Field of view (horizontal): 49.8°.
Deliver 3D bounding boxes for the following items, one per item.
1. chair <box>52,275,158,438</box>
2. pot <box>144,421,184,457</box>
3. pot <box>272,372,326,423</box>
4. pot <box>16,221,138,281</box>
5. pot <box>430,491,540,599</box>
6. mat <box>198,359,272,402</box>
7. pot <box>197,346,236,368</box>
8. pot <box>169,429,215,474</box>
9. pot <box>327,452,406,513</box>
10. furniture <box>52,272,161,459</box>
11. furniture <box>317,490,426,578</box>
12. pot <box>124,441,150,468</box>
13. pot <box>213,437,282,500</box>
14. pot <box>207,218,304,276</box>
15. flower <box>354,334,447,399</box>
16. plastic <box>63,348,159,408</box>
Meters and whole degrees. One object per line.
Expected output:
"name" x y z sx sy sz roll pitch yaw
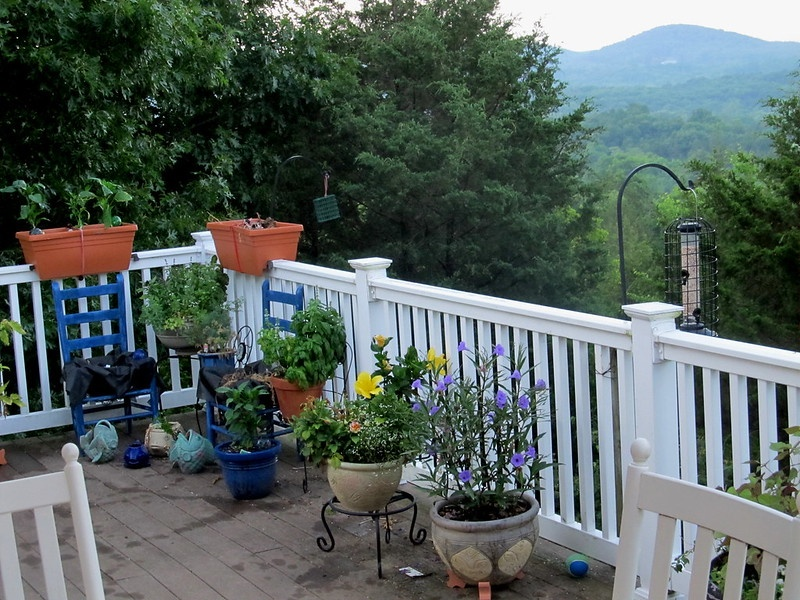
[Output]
"chair" -1.939 0.455 5.736 0.595 1.080 0.610 -10 17 -32
"pot" -1.509 0.889 5.519 0.209 0.160 0.219 0 1 0
"pot" -0.576 0.535 4.878 0.253 0.210 0.252 1 4 0
"pot" -2.133 -0.328 5.737 0.649 0.304 0.394 -4 6 -36
"pot" 0.378 1.082 3.915 0.426 0.325 0.455 -1 -10 0
"mat" -1.054 0.469 5.189 0.277 0.130 0.277 -4 7 -40
"pot" -1.180 0.344 5.532 0.144 0.193 0.149 1 7 0
"pot" -1.285 0.922 5.301 0.214 0.262 0.285 -14 -3 -29
"pot" -0.170 0.887 4.237 0.385 0.265 0.393 0 3 0
"furniture" -1.956 0.443 5.760 0.621 1.042 0.779 -5 9 -14
"furniture" -0.139 1.111 4.267 0.387 0.271 0.395 1 2 40
"pot" -1.614 0.960 5.282 0.112 0.117 0.155 0 -5 -5
"pot" -0.844 0.920 4.797 0.293 0.233 0.310 -1 5 0
"pot" -0.962 -0.346 5.685 0.366 0.288 0.543 -4 5 -35
"flower" 0.003 0.357 4.372 0.343 0.255 0.356 4 11 11
"plastic" -1.903 0.452 5.619 0.380 0.207 0.383 -7 10 -32
